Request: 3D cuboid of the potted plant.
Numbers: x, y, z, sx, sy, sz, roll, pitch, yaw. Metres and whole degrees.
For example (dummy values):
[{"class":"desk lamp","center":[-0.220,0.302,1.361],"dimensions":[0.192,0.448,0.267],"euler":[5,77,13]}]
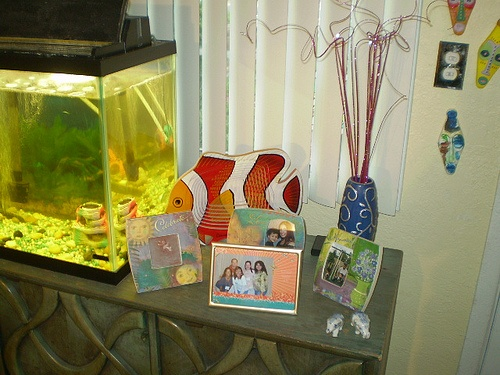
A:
[{"class":"potted plant","center":[0.342,-0.258,1.624],"dimensions":[0.550,0.897,0.263],"euler":[3,8,-12]}]
